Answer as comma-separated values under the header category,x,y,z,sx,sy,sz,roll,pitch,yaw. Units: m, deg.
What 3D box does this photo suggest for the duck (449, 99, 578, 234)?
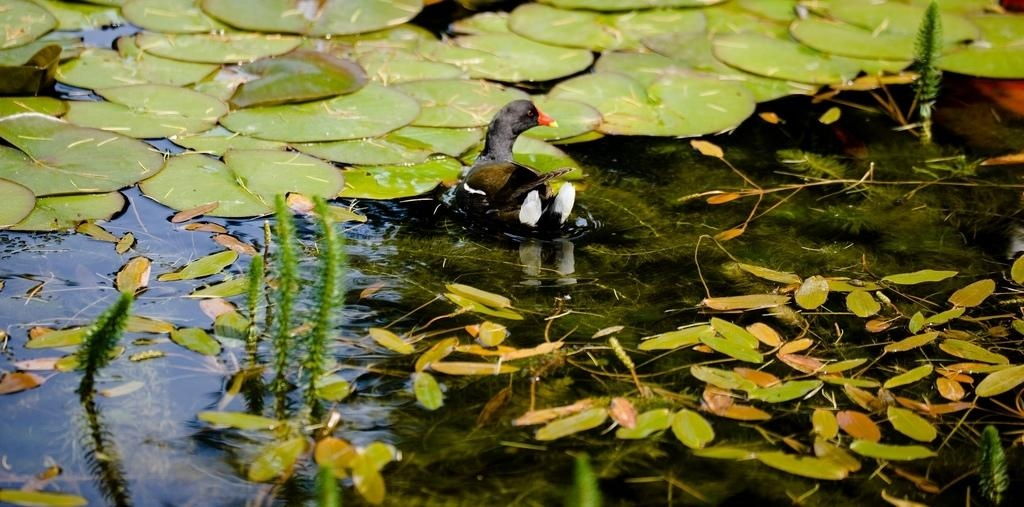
category,x,y,z,sx,sy,sz,roll,pitch,yaw
duck,-0.039,-0.682,6.625,1.079,1.142,0.706,-3,-63,-14
